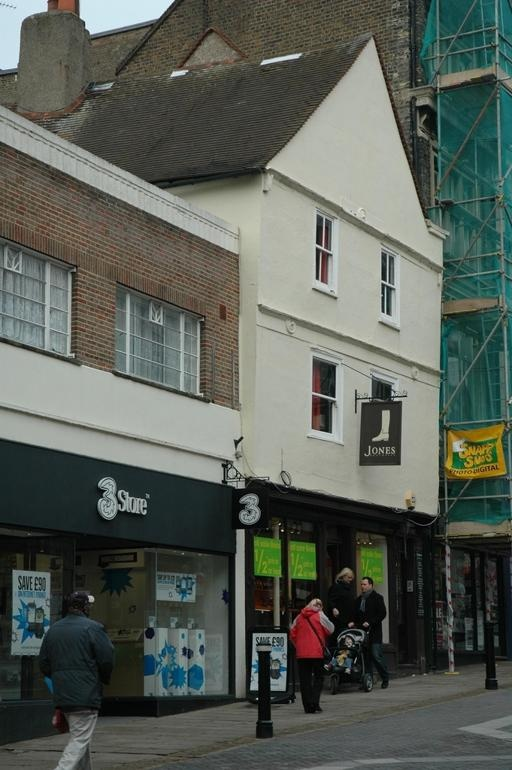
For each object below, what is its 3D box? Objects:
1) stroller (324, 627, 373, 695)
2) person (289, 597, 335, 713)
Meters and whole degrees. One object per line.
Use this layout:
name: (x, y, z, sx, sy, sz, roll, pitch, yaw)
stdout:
stroller: (1.273, 3.848, 18.265, 0.513, 0.997, 0.805, -7, -16, 23)
person: (0.654, 3.273, 15.692, 0.451, 1.351, 0.805, -1, -10, 1)
